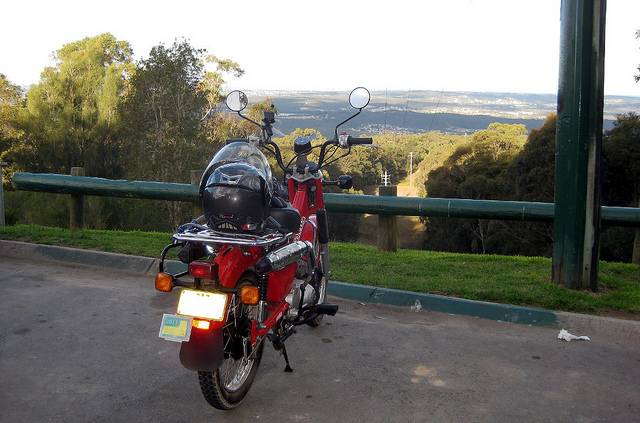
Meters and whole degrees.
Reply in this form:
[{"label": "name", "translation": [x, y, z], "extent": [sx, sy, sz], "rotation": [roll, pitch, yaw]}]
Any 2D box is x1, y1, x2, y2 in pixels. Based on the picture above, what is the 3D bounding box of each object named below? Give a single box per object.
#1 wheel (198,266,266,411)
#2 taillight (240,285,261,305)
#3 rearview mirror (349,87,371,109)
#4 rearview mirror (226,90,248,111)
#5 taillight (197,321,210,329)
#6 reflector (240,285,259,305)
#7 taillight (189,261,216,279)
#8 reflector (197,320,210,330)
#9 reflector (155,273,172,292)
[{"label": "wheel", "translation": [-0.861, 1.186, 4.740], "extent": [0.272, 1.374, 1.202], "rotation": [3, 10, 19]}, {"label": "taillight", "translation": [-0.654, 0.780, 4.644], "extent": [0.105, 0.179, 0.198], "rotation": [1, 0, 43]}, {"label": "rearview mirror", "translation": [0.479, -1.368, 6.023], "extent": [0.256, 0.246, 0.166], "rotation": [0, 5, 4]}, {"label": "rearview mirror", "translation": [-1.035, -1.367, 6.173], "extent": [0.262, 0.250, 0.212], "rotation": [-1, 6, -12]}, {"label": "taillight", "translation": [-1.063, 1.028, 4.522], "extent": [0.101, 0.065, 0.019], "rotation": [1, 6, 5]}, {"label": "reflector", "translation": [-0.659, 0.777, 4.626], "extent": [0.177, 0.174, 0.085], "rotation": [2, 2, 17]}, {"label": "taillight", "translation": [-1.086, 0.543, 4.599], "extent": [0.230, 0.150, 0.124], "rotation": [-1, 7, 14]}, {"label": "reflector", "translation": [-1.060, 1.030, 4.521], "extent": [0.083, 0.082, 0.021], "rotation": [10, -2, 5]}, {"label": "reflector", "translation": [-1.475, 0.669, 4.696], "extent": [0.129, 0.107, 0.176], "rotation": [3, 2, 3]}]
